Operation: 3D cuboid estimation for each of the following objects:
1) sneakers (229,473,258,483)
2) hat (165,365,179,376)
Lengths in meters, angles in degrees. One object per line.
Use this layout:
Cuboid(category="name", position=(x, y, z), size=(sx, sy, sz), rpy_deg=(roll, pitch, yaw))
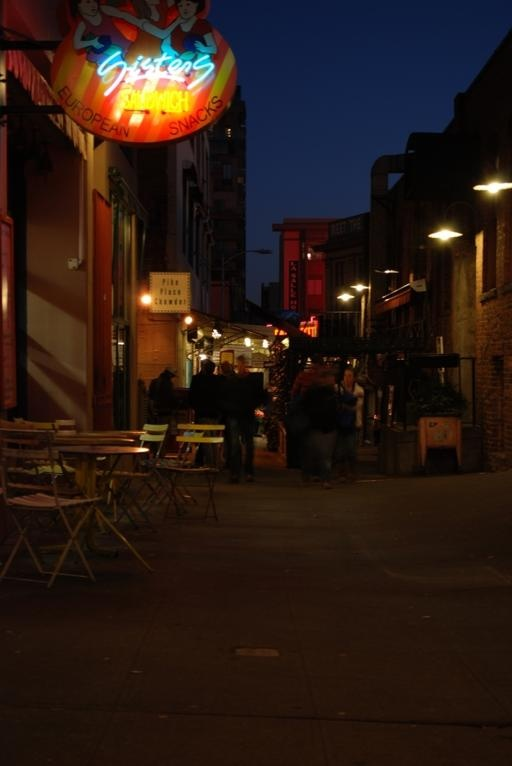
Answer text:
Cuboid(category="sneakers", position=(-0.181, 1.334, 11.553), size=(0.276, 0.088, 0.170), rpy_deg=(1, -1, -19))
Cuboid(category="hat", position=(-2.068, -0.316, 20.643), size=(0.219, 0.131, 0.316), rpy_deg=(10, 4, -32))
